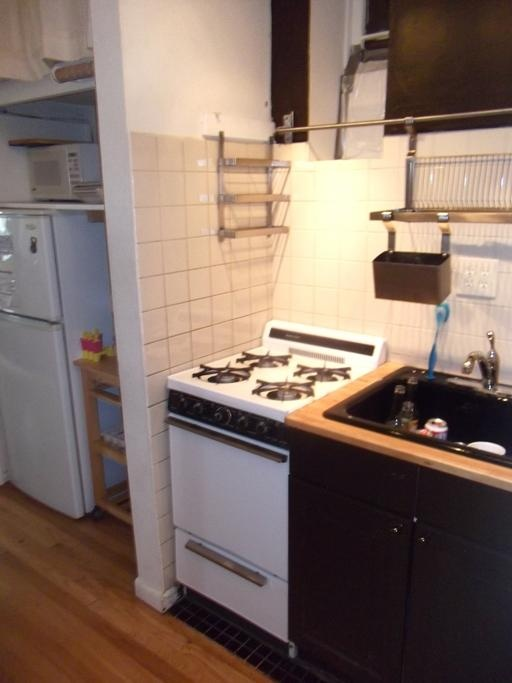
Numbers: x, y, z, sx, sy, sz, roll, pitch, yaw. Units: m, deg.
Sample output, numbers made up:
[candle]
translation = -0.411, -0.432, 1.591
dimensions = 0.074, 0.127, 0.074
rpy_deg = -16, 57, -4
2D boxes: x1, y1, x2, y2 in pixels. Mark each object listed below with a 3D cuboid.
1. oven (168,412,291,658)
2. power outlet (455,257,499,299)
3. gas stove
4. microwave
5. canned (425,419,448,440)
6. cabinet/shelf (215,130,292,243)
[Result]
[oven]
translation = -0.037, 0.525, 1.850
dimensions = 0.492, 0.693, 0.493
rpy_deg = 12, 20, 35
[power outlet]
translation = 0.684, -0.194, 1.671
dimensions = 0.030, 0.132, 0.130
rpy_deg = -12, 17, -37
[gas stove]
translation = 0.057, 0.144, 1.744
dimensions = 0.749, 0.169, 0.812
rpy_deg = 10, 19, 33
[microwave]
translation = -0.887, -0.790, 2.507
dimensions = 0.386, 0.253, 0.213
rpy_deg = 18, 30, 35
[canned]
translation = 0.499, 0.235, 1.504
dimensions = 0.063, 0.071, 0.066
rpy_deg = 2, 2, 18
[cabinet/shelf]
translation = -0.006, -0.565, 1.968
dimensions = 0.137, 0.377, 0.383
rpy_deg = 6, 15, 30
